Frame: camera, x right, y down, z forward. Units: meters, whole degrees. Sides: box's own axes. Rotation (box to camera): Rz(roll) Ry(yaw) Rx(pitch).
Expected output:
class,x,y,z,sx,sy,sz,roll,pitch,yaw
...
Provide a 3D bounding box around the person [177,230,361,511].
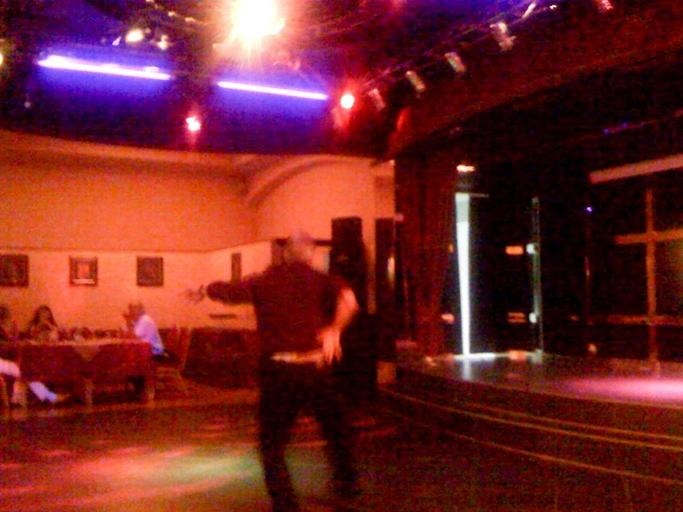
class,x,y,z,sx,sy,sz,roll,pitch,yaw
person,-0.236,0.777,4.028,0.639,1.903,0.990,2,11,16

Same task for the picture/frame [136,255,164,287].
class,x,y,z,sx,sy,sz,roll,pitch,yaw
picture/frame,-1.708,0.127,5.269,0.276,0.252,0.063,2,2,-7
